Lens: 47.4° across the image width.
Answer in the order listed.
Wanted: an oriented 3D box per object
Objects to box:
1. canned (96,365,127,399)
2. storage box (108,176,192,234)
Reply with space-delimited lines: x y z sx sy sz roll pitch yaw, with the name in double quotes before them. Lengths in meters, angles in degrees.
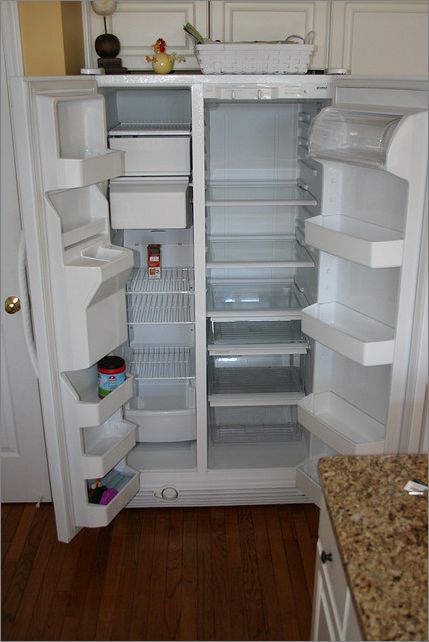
"canned" -0.378 0.220 1.825 0.101 0.125 0.109 6 22 7
"storage box" -0.239 -0.440 1.828 0.254 0.180 0.194 0 24 0
